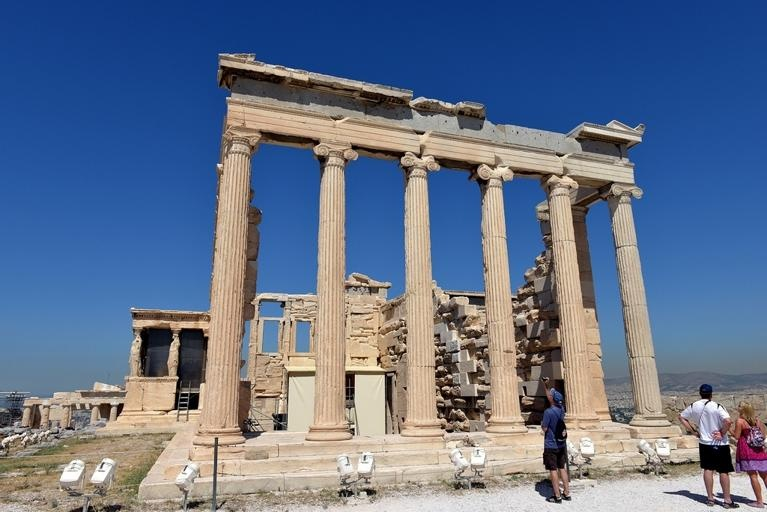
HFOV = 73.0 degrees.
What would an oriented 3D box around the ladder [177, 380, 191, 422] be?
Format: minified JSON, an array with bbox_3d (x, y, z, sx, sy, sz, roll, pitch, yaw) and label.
[{"bbox_3d":[-12.153,8.675,31.656,0.739,1.987,3.138,3,-16,-19],"label":"ladder"}]

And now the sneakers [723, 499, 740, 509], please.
[{"bbox_3d":[8.428,5.997,12.519,0.333,0.140,0.148,0,-3,-18],"label":"sneakers"}]

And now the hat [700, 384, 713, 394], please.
[{"bbox_3d":[8.007,3.261,12.859,0.312,0.205,0.385,-4,-1,23],"label":"hat"}]

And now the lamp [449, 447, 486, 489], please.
[{"bbox_3d":[2.350,5.818,14.268,1.326,1.142,1.082,2,-31,-3],"label":"lamp"}]

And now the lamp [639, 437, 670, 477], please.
[{"bbox_3d":[8.438,6.289,16.089,1.088,1.062,0.885,2,-10,0],"label":"lamp"}]

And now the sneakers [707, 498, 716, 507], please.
[{"bbox_3d":[8.076,6.043,12.758,0.158,0.098,0.244,0,-3,12],"label":"sneakers"}]

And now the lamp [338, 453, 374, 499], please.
[{"bbox_3d":[-0.696,5.778,13.885,1.065,0.958,0.727,-3,-4,3],"label":"lamp"}]

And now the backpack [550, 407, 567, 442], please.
[{"bbox_3d":[4.526,4.321,13.211,0.402,0.862,0.175,10,-22,-38],"label":"backpack"}]

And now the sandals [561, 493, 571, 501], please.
[{"bbox_3d":[4.717,6.177,13.314,0.102,0.099,0.253,2,-6,-8],"label":"sandals"}]

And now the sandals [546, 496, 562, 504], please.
[{"bbox_3d":[4.338,6.159,13.144,0.320,0.105,0.167,-1,-13,22],"label":"sandals"}]
